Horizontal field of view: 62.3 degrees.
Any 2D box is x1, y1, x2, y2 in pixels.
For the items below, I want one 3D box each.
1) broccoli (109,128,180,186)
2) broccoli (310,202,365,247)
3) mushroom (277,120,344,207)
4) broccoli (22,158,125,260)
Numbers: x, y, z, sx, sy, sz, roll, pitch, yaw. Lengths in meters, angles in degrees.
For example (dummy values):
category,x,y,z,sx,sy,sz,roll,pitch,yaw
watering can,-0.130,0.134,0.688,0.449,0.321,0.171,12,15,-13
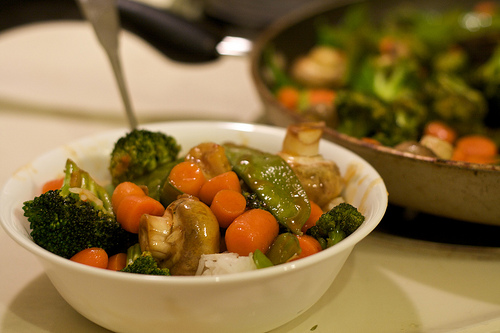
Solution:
category,x,y,z,sx,sy,sz,roll,pitch,yaw
broccoli,-0.551,-0.019,2.286,0.320,0.273,0.327,-34,87,-21
broccoli,0.401,0.288,1.875,0.207,0.092,0.158,-35,54,7
mushroom,0.281,0.020,2.146,0.306,0.174,0.415,-17,68,-34
broccoli,-0.859,0.248,1.887,0.318,0.398,0.216,42,90,-1
